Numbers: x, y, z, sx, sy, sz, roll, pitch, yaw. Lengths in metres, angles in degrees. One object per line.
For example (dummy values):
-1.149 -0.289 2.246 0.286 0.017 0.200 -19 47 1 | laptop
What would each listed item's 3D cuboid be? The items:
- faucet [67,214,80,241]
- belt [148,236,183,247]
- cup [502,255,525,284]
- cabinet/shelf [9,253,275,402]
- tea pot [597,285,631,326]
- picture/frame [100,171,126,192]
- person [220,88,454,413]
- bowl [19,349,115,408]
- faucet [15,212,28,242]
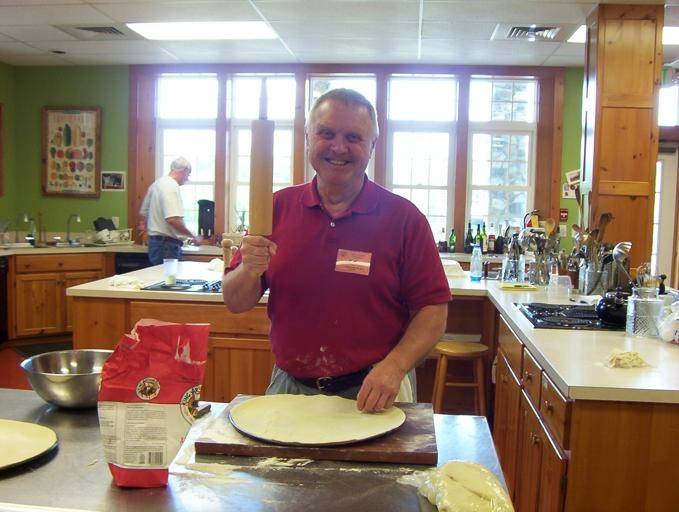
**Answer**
-3.046 -0.337 6.488 0.175 0.297 0.410 -6 10 -24 | faucet
-1.715 -0.135 5.482 0.172 0.065 0.151 -1 -4 36 | belt
1.245 0.098 4.066 0.151 0.197 0.274 2 10 17 | cup
-0.975 0.420 3.738 0.955 0.624 0.994 1 3 6 | cabinet/shelf
1.269 0.242 2.644 0.129 0.179 0.241 3 10 25 | tea pot
-2.598 -0.878 6.530 0.225 0.191 0.019 -1 5 6 | picture/frame
0.006 -0.034 1.954 0.643 1.071 0.525 5 11 33 | person
-0.809 0.354 1.688 0.229 0.090 0.231 2 5 0 | bowl
-3.714 -0.333 6.632 0.149 0.327 0.225 -5 10 -20 | faucet
